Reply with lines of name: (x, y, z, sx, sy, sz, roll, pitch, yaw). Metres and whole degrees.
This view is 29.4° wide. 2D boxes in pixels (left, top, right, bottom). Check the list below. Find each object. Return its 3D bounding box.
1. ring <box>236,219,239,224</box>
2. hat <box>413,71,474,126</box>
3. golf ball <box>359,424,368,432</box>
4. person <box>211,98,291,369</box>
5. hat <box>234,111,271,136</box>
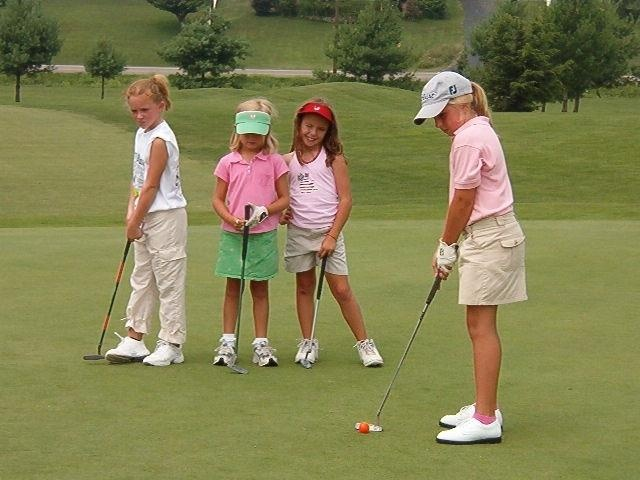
ring: (-0.976, -0.241, 14.523, 0.043, 0.038, 0.013, -25, 1, 13)
hat: (1.302, -1.624, 13.543, 0.741, 0.366, 0.470, -30, 14, -10)
golf ball: (0.472, 2.011, 13.235, 0.086, 0.084, 0.078, 0, 15, 0)
person: (-0.818, -0.114, 14.873, 1.074, 2.812, 1.190, 0, 3, -10)
hat: (-0.805, -1.416, 14.642, 0.421, 0.290, 0.261, 1, 8, -3)
